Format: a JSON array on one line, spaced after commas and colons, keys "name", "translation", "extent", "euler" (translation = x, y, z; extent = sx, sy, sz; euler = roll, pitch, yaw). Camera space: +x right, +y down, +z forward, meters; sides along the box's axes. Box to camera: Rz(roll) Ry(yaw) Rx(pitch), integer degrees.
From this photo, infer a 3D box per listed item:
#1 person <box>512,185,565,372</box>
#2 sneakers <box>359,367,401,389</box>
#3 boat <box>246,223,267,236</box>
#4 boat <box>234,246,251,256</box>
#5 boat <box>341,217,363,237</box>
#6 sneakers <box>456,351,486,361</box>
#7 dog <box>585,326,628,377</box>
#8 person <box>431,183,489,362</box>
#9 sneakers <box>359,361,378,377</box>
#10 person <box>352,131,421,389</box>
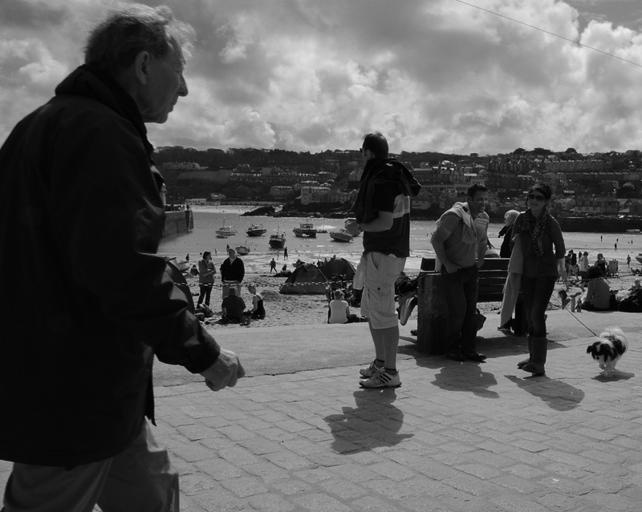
[{"name": "person", "translation": [2.337, 0.183, 6.522], "extent": [0.521, 1.976, 1.215], "euler": [3, 3, 22]}, {"name": "sneakers", "translation": [0.533, 1.055, 5.292], "extent": [0.390, 0.208, 0.144], "euler": [1, -1, -8]}, {"name": "boat", "translation": [-11.744, -4.253, 112.924], "extent": [1.953, 3.022, 7.402], "euler": [4, 12, 13]}, {"name": "boat", "translation": [-8.886, -0.556, 70.201], "extent": [0.814, 1.055, 3.213], "euler": [2, 11, 6]}, {"name": "boat", "translation": [0.260, -0.236, 4.972], "extent": [0.142, 0.066, 0.164], "euler": [29, -2, 1]}, {"name": "sneakers", "translation": [1.635, 1.071, 6.624], "extent": [0.329, 0.146, 0.113], "euler": [0, 8, 15]}, {"name": "dog", "translation": [3.020, 0.967, 6.347], "extent": [0.243, 0.342, 0.748], "euler": [2, 4, 26]}, {"name": "person", "translation": [1.453, 0.266, 6.582], "extent": [0.665, 1.707, 0.393], "euler": [1, 3, -15]}, {"name": "sneakers", "translation": [0.439, 1.001, 5.378], "extent": [0.087, 0.116, 0.261], "euler": [-9, 3, -26]}, {"name": "person", "translation": [0.483, 0.048, 5.167], "extent": [0.424, 2.172, 0.681], "euler": [5, 4, 45]}]
